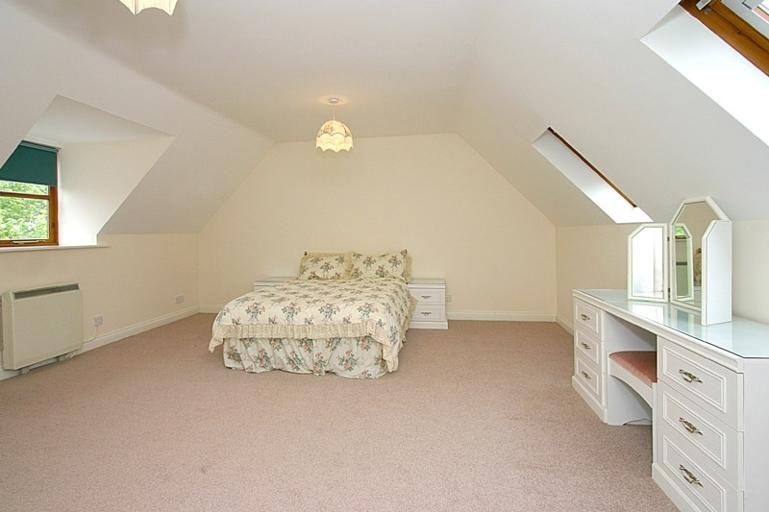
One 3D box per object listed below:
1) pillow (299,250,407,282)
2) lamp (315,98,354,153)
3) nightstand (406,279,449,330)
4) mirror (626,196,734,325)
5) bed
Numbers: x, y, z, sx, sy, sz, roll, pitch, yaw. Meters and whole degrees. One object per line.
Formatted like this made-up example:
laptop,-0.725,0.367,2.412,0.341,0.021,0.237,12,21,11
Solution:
pillow,-0.418,0.156,6.797,1.429,0.356,0.379,1,0,-5
lamp,-0.525,-1.342,5.361,0.399,0.527,0.403,10,13,40
nightstand,0.605,0.636,6.775,0.700,0.667,0.512,-1,-1,11
mirror,2.268,0.088,3.857,0.335,1.034,1.028,0,-1,-12
bed,-0.729,0.776,5.588,1.894,0.837,1.184,1,0,9
